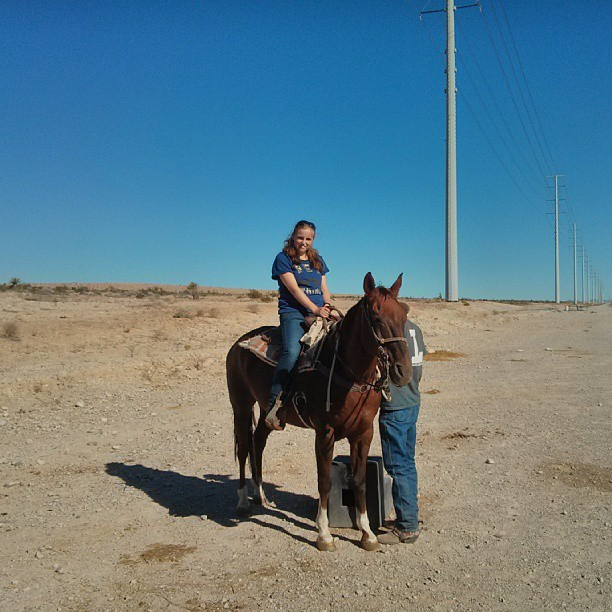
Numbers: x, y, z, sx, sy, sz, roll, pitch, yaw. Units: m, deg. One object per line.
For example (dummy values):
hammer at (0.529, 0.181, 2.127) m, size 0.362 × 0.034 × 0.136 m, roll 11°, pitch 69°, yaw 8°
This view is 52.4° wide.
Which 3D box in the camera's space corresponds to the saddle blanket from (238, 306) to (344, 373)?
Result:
saddle blanket at (-0.293, 0.506, 7.822) m, size 1.053 × 0.894 × 1.438 m, roll -5°, pitch 12°, yaw -37°

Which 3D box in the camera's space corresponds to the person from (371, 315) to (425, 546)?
person at (1.096, 1.499, 7.178) m, size 0.623 × 2.483 × 0.376 m, roll -1°, pitch 4°, yaw -16°

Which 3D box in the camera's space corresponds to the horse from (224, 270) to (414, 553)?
horse at (-0.010, 1.266, 7.782) m, size 1.079 × 3.306 × 3.221 m, roll 1°, pitch -3°, yaw -42°
